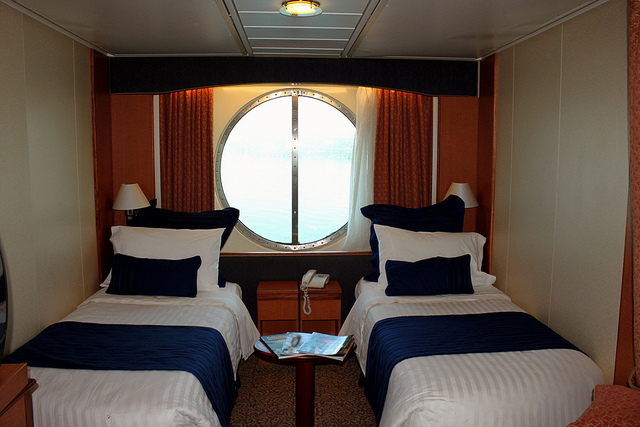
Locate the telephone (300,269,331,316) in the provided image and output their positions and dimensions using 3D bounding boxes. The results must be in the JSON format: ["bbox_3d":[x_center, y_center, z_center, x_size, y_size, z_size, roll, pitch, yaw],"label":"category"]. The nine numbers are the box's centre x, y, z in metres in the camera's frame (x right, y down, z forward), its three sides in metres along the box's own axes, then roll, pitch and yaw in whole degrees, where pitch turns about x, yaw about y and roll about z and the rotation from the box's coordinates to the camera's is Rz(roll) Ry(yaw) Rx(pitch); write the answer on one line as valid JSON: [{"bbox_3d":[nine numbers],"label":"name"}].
[{"bbox_3d":[-0.009,0.954,5.519,0.367,0.509,0.539,9,4,0],"label":"telephone"}]

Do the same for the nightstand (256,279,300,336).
[{"bbox_3d":[-0.457,1.004,5.588,0.564,0.879,0.458,0,6,-2],"label":"nightstand"}]

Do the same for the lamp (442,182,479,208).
[{"bbox_3d":[1.571,-0.224,5.397,0.284,0.193,0.271,6,15,15],"label":"lamp"}]

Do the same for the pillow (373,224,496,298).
[{"bbox_3d":[1.124,0.660,5.386,1.311,0.548,0.620,-2,28,-5],"label":"pillow"}]

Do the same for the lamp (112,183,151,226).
[{"bbox_3d":[-2.043,-0.070,5.290,0.375,0.489,0.391,5,14,12],"label":"lamp"}]
